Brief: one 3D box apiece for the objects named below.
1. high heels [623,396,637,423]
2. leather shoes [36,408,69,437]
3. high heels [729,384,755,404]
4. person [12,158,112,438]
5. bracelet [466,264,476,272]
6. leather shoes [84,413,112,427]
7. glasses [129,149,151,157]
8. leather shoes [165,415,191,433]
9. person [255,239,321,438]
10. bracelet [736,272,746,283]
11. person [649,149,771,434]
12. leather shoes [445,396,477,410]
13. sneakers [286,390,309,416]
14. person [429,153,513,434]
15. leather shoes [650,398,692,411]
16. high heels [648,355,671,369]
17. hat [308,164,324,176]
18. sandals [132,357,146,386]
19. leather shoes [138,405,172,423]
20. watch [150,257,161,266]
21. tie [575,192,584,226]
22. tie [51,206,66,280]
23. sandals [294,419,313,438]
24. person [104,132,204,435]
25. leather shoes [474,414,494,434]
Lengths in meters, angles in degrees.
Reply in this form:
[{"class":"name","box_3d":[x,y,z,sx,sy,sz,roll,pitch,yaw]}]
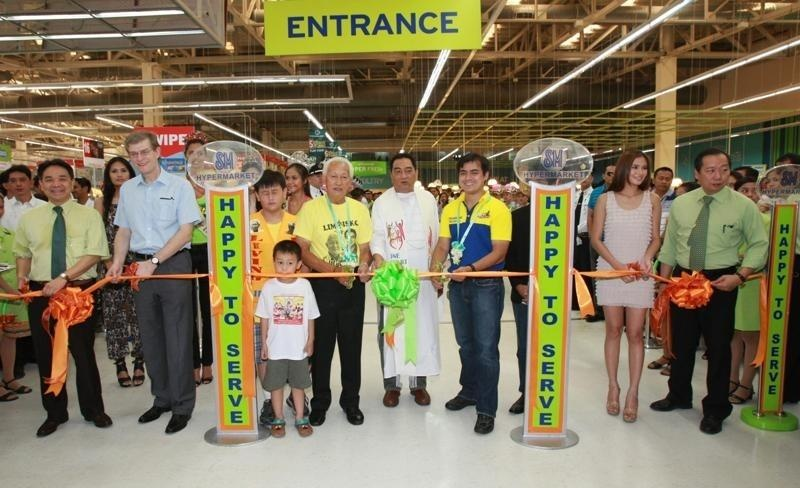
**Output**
[{"class":"high heels","box_3d":[2.503,1.786,6.469,0.106,0.311,0.125,-3,39,8]},{"class":"leather shoes","box_3d":[-3.739,1.944,6.433,0.141,0.222,0.370,0,-3,8]},{"class":"high heels","box_3d":[3.893,1.693,6.842,0.437,0.162,0.191,0,0,-35]},{"class":"person","box_3d":[-3.625,0.564,6.435,0.949,2.037,0.532,-3,2,-15]},{"class":"bracelet","box_3d":[0.756,0.252,6.257,0.056,0.076,0.085,-26,13,-14]},{"class":"leather shoes","box_3d":[-3.320,1.925,6.580,0.352,0.142,0.126,0,10,18]},{"class":"glasses","box_3d":[-2.726,-0.948,6.269,0.205,0.052,0.031,-2,2,-1]},{"class":"leather shoes","box_3d":[-2.397,1.950,6.476,0.120,0.121,0.308,1,-4,8]},{"class":"person","box_3d":[-1.172,0.991,6.325,0.666,2.076,0.312,-2,2,-11]},{"class":"bracelet","box_3d":[3.575,0.344,6.258,0.168,0.108,0.080,-3,2,-24]},{"class":"person","box_3d":[3.309,0.496,6.417,1.088,3.004,0.452,-1,2,28]},{"class":"leather shoes","box_3d":[0.699,1.800,6.766,0.351,0.137,0.126,2,-1,-16]},{"class":"sneakers","box_3d":[-1.121,1.796,6.700,0.166,0.180,0.438,-1,-2,-25]},{"class":"person","box_3d":[0.778,0.515,6.437,0.755,2.994,0.601,-1,3,36]},{"class":"leather shoes","box_3d":[3.011,1.795,6.704,0.460,0.173,0.166,2,-4,-1]},{"class":"high heels","box_3d":[3.297,1.508,7.594,0.306,0.077,0.114,-4,5,-9]},{"class":"hat","box_3d":[-1.120,-1.009,8.034,0.237,0.100,0.174,1,9,36]},{"class":"sandals","box_3d":[-3.252,1.604,7.444,0.133,0.153,0.393,-1,1,-20]},{"class":"leather shoes","box_3d":[-2.726,1.889,6.598,0.137,0.157,0.415,-5,-3,40]},{"class":"watch","box_3d":[-2.552,0.177,6.243,0.103,0.097,0.033,0,-1,-5]},{"class":"tie","box_3d":[2.768,-0.524,9.095,0.166,0.557,0.293,-1,2,20]},{"class":"tie","box_3d":[-3.644,-0.027,6.395,0.152,0.528,0.102,-2,2,10]},{"class":"sandals","box_3d":[-1.004,1.944,6.304,0.124,0.091,0.218,2,33,-22]},{"class":"person","box_3d":[-2.577,0.411,6.413,0.894,3.232,0.467,-2,2,6]},{"class":"leather shoes","box_3d":[0.919,1.911,6.364,0.263,0.203,0.114,-3,2,-18]}]
